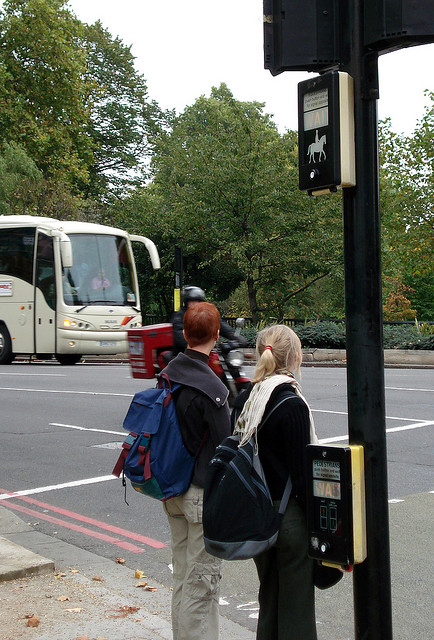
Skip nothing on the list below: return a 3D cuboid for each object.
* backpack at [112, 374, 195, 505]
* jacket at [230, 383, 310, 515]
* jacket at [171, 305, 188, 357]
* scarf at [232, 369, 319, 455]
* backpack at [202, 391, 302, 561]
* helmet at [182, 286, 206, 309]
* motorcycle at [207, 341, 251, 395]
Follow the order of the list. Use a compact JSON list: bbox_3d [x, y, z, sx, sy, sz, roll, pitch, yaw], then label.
[{"bbox_3d":[-0.233,0.498,2.934,0.291,0.537,0.322,1,-3,-24],"label":"backpack"},{"bbox_3d":[0.206,0.442,2.540,0.163,0.402,0.309,4,-7,-32],"label":"jacket"},{"bbox_3d":[-0.348,0.118,6.636,0.146,0.468,0.567,-3,3,-4],"label":"jacket"},{"bbox_3d":[0.207,0.330,2.550,0.259,0.261,0.165,5,-5,-18],"label":"scarf"},{"bbox_3d":[0.109,0.540,2.469,0.315,0.533,0.263,4,-11,-17],"label":"backpack"},{"bbox_3d":[-0.205,-0.203,6.237,0.192,0.190,0.143,-5,2,9],"label":"helmet"},{"bbox_3d":[0.007,0.449,7.066,0.305,0.374,0.564,0,1,-40],"label":"motorcycle"}]
